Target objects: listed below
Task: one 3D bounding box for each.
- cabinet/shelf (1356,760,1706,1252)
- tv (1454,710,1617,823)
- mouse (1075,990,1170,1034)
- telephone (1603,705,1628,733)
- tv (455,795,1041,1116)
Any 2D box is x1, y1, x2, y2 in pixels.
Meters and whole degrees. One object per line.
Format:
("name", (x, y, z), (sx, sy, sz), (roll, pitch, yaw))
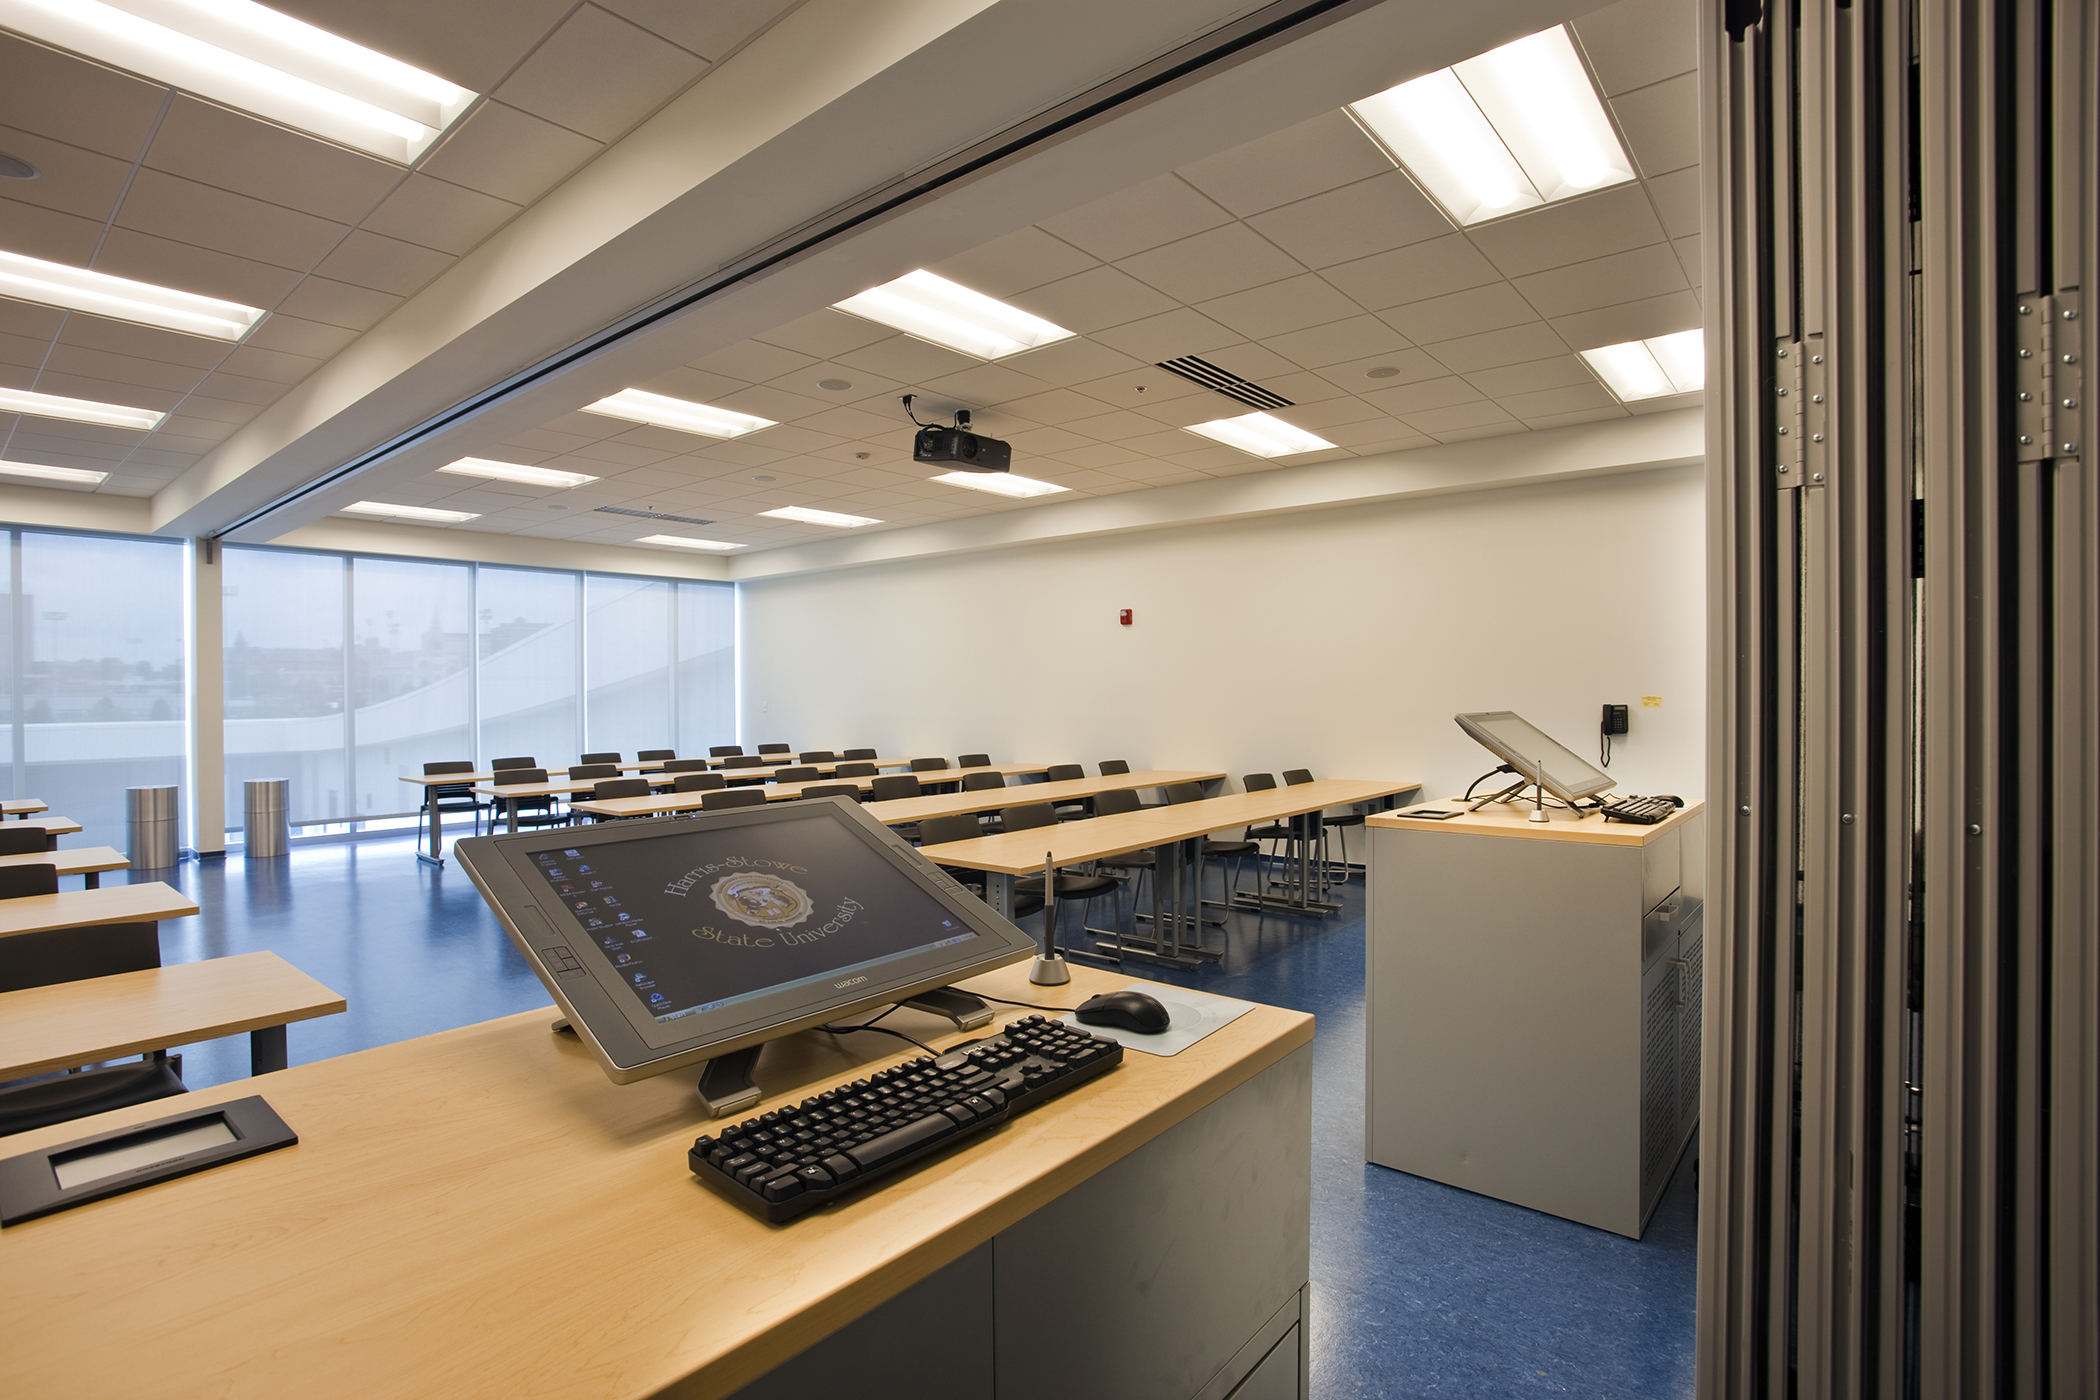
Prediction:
("cabinet/shelf", (1.847, 0.941, 4.448), (0.956, 1.022, 1.679), (-3, -1, 37))
("tv", (1.629, 0.186, 4.269), (0.399, 0.244, 0.484), (1, 6, 43))
("mouse", (0.149, 0.608, 2.493), (0.140, 0.039, 0.077), (0, -4, 30))
("telephone", (3.294, 0.111, 7.399), (0.178, 0.201, 0.149), (-1, -2, 17))
("tv", (-0.581, 0.461, 2.471), (0.718, 0.341, 0.985), (13, 11, 35))
